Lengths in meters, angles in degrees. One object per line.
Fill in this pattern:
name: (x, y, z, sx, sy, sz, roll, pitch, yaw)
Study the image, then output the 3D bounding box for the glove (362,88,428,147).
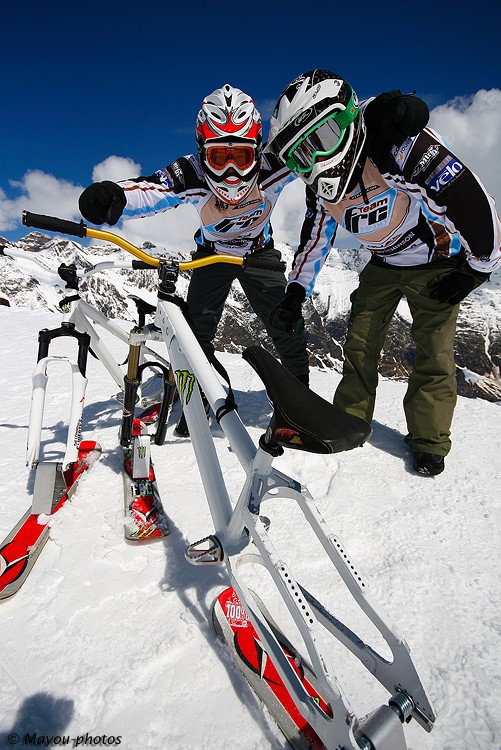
glove: (0.822, -1.436, 3.026, 0.255, 0.290, 0.466, 7, 23, -10)

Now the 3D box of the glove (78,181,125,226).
glove: (-0.832, -1.002, 3.153, 0.144, 0.248, 0.319, 24, 26, 28)

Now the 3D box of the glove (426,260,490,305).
glove: (1.351, -0.563, 3.472, 0.297, 0.296, 0.216, 19, 24, 19)

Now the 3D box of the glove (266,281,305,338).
glove: (0.261, -0.445, 4.116, 0.165, 0.388, 0.249, -19, 75, -22)

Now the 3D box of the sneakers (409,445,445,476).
sneakers: (1.279, 0.654, 3.879, 0.120, 0.132, 0.298, 0, -7, 5)
